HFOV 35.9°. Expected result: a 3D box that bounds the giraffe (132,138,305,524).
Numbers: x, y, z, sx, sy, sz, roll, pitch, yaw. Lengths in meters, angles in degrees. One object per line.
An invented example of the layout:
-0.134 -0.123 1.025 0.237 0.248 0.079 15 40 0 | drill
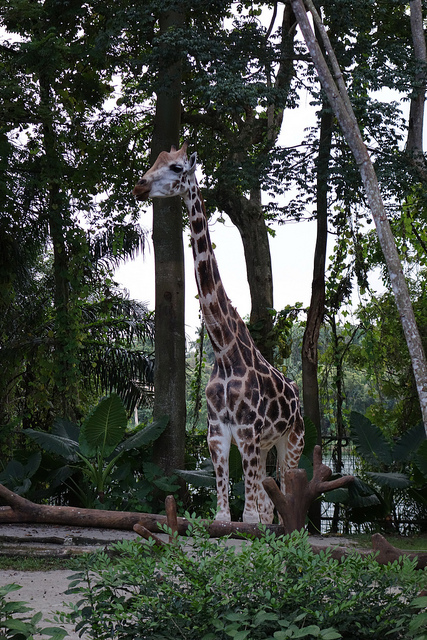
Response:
0.149 0.084 5.568 0.678 3.063 1.737 -2 -3 39 | giraffe
